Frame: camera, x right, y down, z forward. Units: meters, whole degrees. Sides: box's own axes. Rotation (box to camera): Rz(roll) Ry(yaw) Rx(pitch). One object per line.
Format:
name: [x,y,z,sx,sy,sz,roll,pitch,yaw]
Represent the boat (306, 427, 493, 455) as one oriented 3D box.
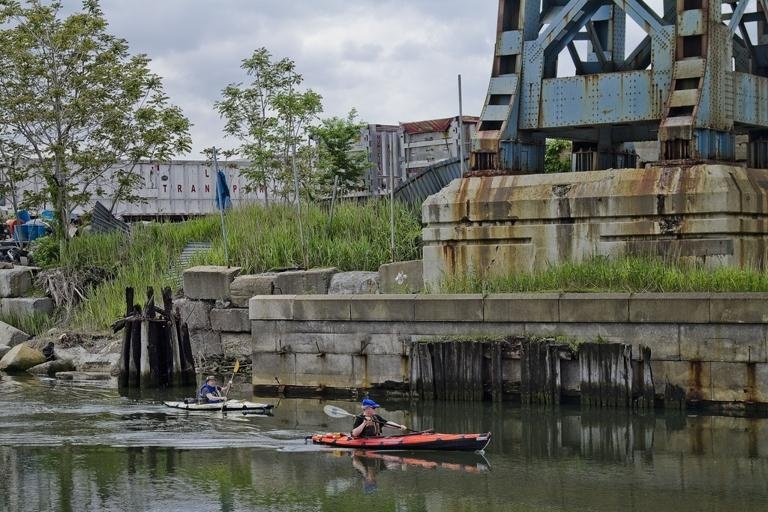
boat: [0.572,4.603,36.750,3.654,0.525,2.113,6,-10,2]
